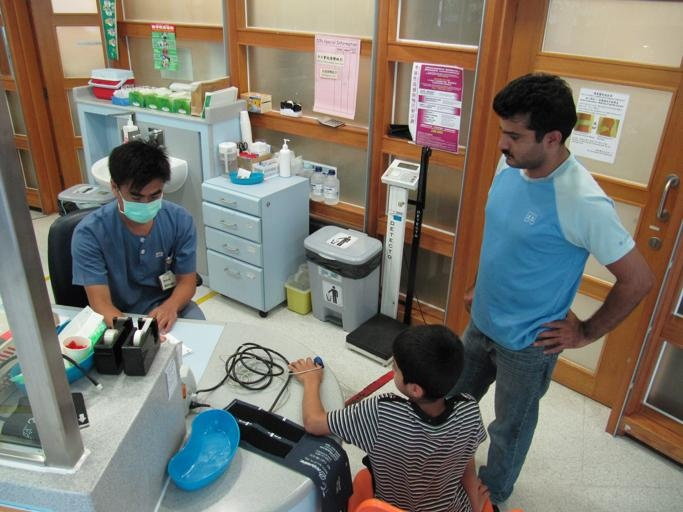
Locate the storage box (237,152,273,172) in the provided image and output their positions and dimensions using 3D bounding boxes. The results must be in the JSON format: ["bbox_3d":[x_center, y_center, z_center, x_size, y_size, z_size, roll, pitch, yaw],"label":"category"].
[{"bbox_3d":[-0.645,-0.691,3.707,0.157,0.105,0.160,22,33,36],"label":"storage box"}]

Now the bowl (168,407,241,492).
[{"bbox_3d":[-0.440,0.622,1.630,0.172,0.098,0.266,15,33,23],"label":"bowl"}]

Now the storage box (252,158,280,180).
[{"bbox_3d":[-0.560,-0.623,3.691,0.118,0.088,0.188,25,37,32],"label":"storage box"}]

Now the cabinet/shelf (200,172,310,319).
[{"bbox_3d":[-0.643,-0.135,3.801,0.641,0.897,0.573,17,33,27],"label":"cabinet/shelf"}]

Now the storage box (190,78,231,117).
[{"bbox_3d":[-0.967,-1.147,3.692,0.104,0.270,0.282,15,25,31],"label":"storage box"}]

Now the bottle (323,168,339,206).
[{"bbox_3d":[-0.078,-0.534,3.834,0.124,0.264,0.128,1,28,0],"label":"bottle"}]

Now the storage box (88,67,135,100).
[{"bbox_3d":[-1.928,-1.495,4.237,0.360,0.261,0.267,23,34,35],"label":"storage box"}]

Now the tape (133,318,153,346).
[{"bbox_3d":[-0.600,0.239,1.537,0.025,0.047,0.112,-4,7,-6],"label":"tape"}]

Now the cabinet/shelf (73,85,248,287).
[{"bbox_3d":[-1.075,-0.444,3.197,1.172,1.405,0.437,16,31,29],"label":"cabinet/shelf"}]

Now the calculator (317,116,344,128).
[{"bbox_3d":[-0.075,-0.951,3.628,0.218,0.046,0.114,13,32,19],"label":"calculator"}]

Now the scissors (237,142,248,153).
[{"bbox_3d":[-0.736,-0.818,3.770,0.084,0.079,0.081,-16,33,-27],"label":"scissors"}]

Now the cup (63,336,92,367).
[{"bbox_3d":[-0.813,0.282,1.530,0.077,0.065,0.087,10,18,-2],"label":"cup"}]

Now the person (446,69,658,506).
[{"bbox_3d":[0.839,0.294,2.132,0.671,1.936,0.391,16,32,26],"label":"person"}]

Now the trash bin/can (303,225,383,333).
[{"bbox_3d":[0.018,0.159,3.645,0.497,0.649,0.397,22,37,34],"label":"trash bin/can"}]

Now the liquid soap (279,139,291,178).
[{"bbox_3d":[-0.416,-0.710,3.680,0.082,0.268,0.086,2,14,2],"label":"liquid soap"}]

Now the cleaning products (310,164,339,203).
[{"bbox_3d":[-0.127,-0.555,3.850,0.207,0.303,0.158,4,31,7],"label":"cleaning products"}]
